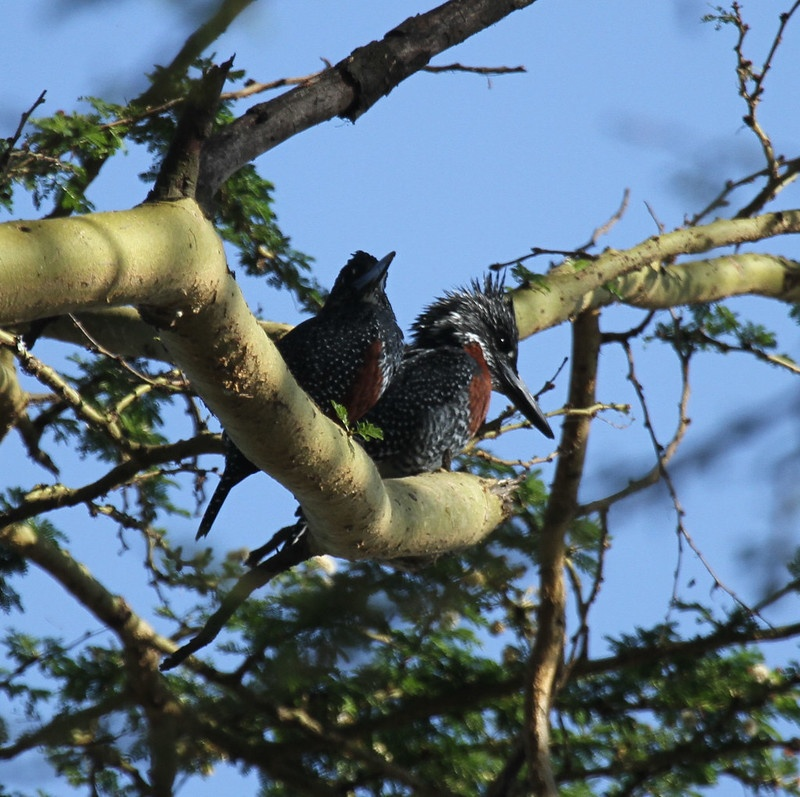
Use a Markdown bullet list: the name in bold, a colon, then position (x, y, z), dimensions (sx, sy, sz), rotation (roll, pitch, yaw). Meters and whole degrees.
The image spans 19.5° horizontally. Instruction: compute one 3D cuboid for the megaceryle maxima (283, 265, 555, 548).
- **megaceryle maxima**: position (0.099, -0.008, 9.304), dimensions (0.979, 1.104, 0.438), rotation (13, -18, 1)
